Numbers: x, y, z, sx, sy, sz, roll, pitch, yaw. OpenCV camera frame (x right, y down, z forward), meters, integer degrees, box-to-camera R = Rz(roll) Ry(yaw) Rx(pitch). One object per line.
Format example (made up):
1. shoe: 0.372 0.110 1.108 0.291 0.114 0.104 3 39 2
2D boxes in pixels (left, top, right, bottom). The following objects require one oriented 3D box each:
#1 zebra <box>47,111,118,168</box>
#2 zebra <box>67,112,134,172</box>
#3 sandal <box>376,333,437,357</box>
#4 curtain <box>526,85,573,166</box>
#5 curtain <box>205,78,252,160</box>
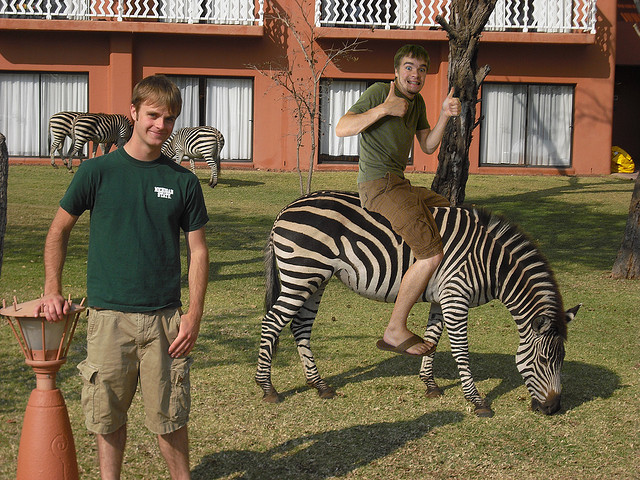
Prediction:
1. zebra: -5.763 -2.594 21.296 2.221 1.603 0.575 -3 22 -26
2. zebra: -5.246 -2.516 20.731 1.980 1.460 0.515 -8 18 -44
3. sandal: 0.832 1.037 8.324 0.476 0.145 0.256 3 12 35
4. curtain: 6.677 -3.336 24.646 1.265 2.268 0.157 2 13 5
5. curtain: -2.626 -3.506 24.878 1.358 2.663 0.128 1 36 -4
